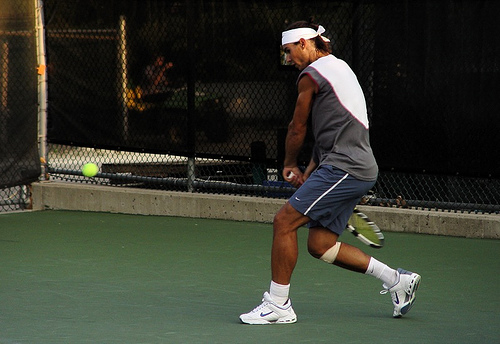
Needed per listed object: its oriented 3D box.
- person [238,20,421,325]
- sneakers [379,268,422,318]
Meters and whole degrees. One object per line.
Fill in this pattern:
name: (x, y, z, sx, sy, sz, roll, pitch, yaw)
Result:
person: (0.650, 0.149, 5.921, 1.363, 2.252, 0.386, 0, 8, -2)
sneakers: (1.305, 1.036, 6.001, 0.235, 0.550, 0.222, 10, 28, 7)
